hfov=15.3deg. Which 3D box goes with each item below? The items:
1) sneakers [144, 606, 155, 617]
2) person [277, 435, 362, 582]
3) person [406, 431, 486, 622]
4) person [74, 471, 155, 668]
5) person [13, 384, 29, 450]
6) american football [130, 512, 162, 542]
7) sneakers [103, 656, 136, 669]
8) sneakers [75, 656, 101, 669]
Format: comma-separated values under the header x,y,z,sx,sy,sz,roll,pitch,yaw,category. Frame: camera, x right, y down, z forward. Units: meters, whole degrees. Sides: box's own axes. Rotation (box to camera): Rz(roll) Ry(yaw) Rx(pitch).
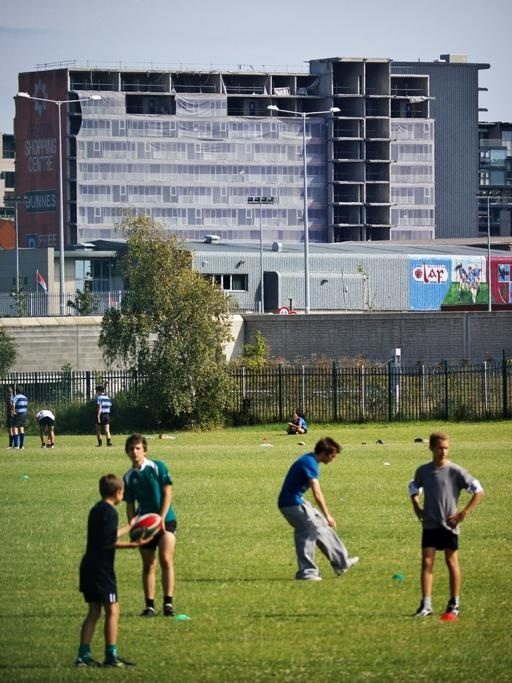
x,y,z,sx,sy,sz,roll,pitch,yaw,category
-1.254,3.241,22.811,0.086,0.122,0.120,3,-5,-12,sneakers
0.740,2.196,24.148,0.782,1.688,0.797,-2,-1,30,person
2.240,2.192,22.777,0.794,2.212,0.959,-1,-1,5,person
-1.670,2.563,21.169,0.591,2.185,0.394,-1,-1,-8,person
-5.026,1.620,41.066,0.280,1.370,1.191,-1,-1,-7,person
-1.253,2.148,22.077,0.204,0.264,0.361,-5,-6,-7,american football
-1.509,3.579,21.282,0.326,0.204,0.145,0,2,-2,sneakers
-1.845,3.594,21.271,0.274,0.184,0.130,2,3,-3,sneakers
